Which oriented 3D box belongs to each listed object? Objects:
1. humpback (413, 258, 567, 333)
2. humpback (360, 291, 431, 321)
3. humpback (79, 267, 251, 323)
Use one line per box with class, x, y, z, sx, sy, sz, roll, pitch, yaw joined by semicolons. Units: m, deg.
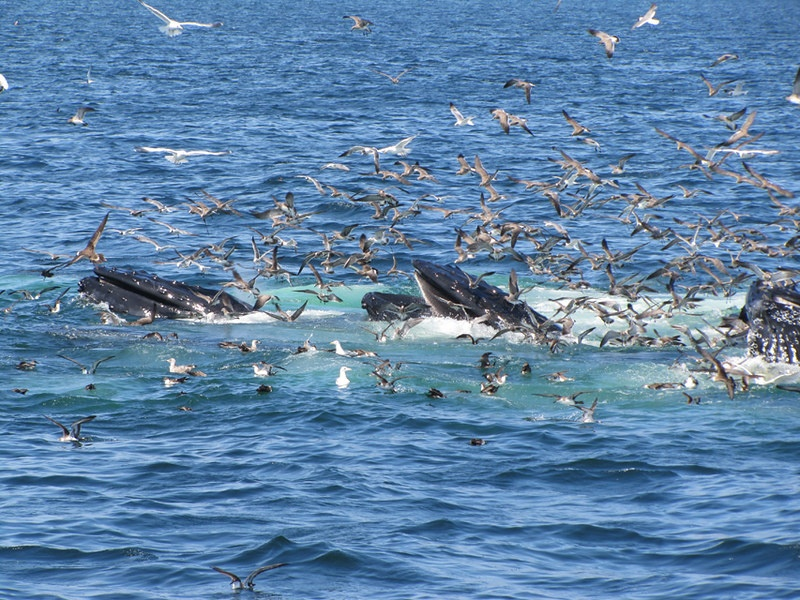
humpback;1.759;-0.010;43.345;4.816;0.959;1.508;14;32;12
humpback;-0.297;0.177;44.213;1.307;0.310;1.115;13;2;24
humpback;-5.359;-0.087;44.272;5.853;0.768;1.332;4;2;0
